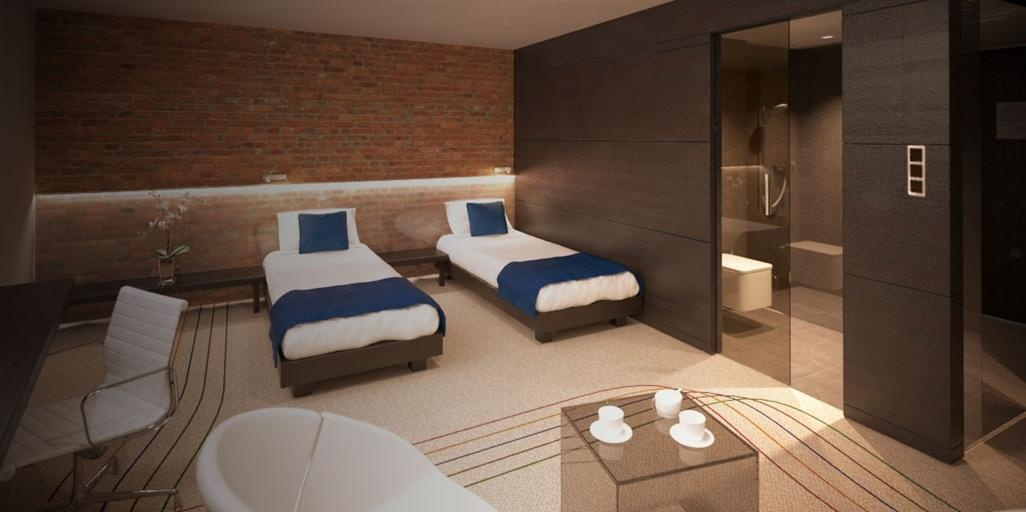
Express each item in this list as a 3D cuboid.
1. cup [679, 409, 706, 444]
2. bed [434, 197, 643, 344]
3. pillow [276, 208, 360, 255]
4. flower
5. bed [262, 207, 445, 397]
[{"bbox_3d":[1.718,1.629,5.537,0.274,0.188,0.287,-1,1,0],"label":"cup"},{"bbox_3d":[0.105,0.082,8.961,1.803,1.143,3.228,-8,14,-31],"label":"bed"},{"bbox_3d":[-2.911,-0.353,9.027,0.643,0.919,0.263,-3,53,-3],"label":"pillow"},{"bbox_3d":[-4.905,-0.440,8.504,0.969,1.037,0.707,-15,20,-32],"label":"flower"},{"bbox_3d":[-2.427,0.337,8.203,2.140,1.186,3.293,-8,25,-24],"label":"bed"}]
